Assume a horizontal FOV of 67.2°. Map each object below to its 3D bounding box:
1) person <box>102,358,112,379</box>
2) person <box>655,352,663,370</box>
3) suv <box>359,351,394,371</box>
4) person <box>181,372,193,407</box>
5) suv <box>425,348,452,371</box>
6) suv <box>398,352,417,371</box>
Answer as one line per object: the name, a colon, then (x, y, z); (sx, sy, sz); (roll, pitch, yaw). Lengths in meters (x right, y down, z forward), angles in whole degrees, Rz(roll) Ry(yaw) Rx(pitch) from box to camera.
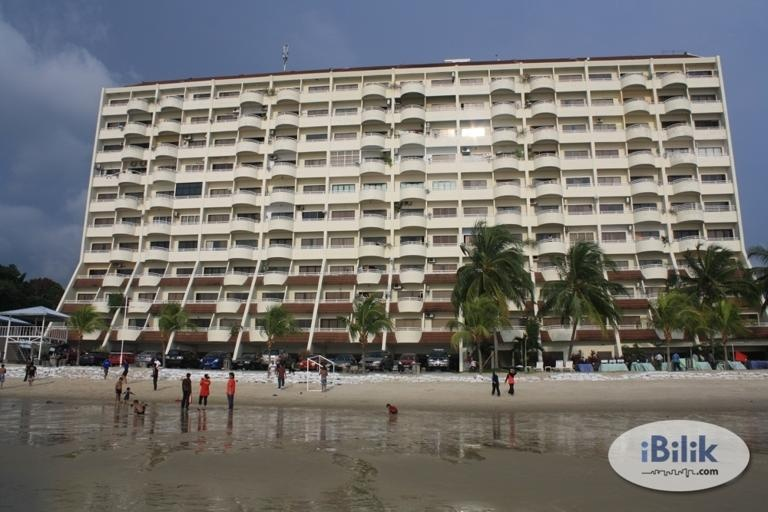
person: (-23.629, 9.525, 49.287); (0.428, 1.425, 2.068); (4, -8, -26)
person: (25.259, 9.693, 53.383); (0.561, 1.192, 2.186); (-3, -7, 26)
suv: (-0.613, 9.700, 53.718); (1.842, 1.837, 3.790); (-2, -7, 17)
person: (-11.866, 8.081, 34.723); (0.438, 1.962, 1.011); (4, -8, -24)
suv: (5.084, 9.874, 54.934); (1.839, 2.020, 2.447); (-1, -7, 13)
suv: (2.100, 9.741, 53.476); (1.539, 1.384, 1.871); (-3, -8, 29)
